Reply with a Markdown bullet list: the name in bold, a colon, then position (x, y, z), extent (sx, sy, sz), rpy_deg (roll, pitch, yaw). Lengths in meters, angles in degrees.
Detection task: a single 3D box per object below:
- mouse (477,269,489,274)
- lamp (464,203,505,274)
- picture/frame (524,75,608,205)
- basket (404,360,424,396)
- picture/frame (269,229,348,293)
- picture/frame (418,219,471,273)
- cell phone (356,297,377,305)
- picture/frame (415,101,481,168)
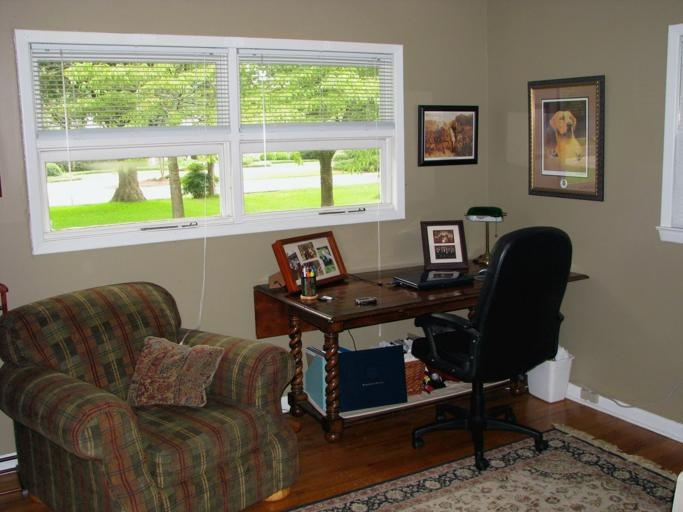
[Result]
- **mouse**: position (0.964, 0.110, 3.685), extent (0.050, 0.017, 0.047), rpy_deg (-2, 12, 36)
- **lamp**: position (1.152, -0.148, 4.269), extent (0.341, 0.469, 0.325), rpy_deg (-4, 12, 19)
- **picture/frame**: position (1.646, -0.861, 3.986), extent (0.120, 0.862, 0.686), rpy_deg (-8, 14, -26)
- **basket**: position (0.488, 0.896, 3.946), extent (0.232, 0.230, 0.200), rpy_deg (0, 2, 5)
- **picture/frame**: position (-0.214, 0.037, 3.781), extent (0.190, 0.359, 0.534), rpy_deg (-2, 6, 44)
- **picture/frame**: position (0.783, -0.068, 4.185), extent (0.405, 0.475, 0.035), rpy_deg (-3, -10, -14)
- **cell phone**: position (0.157, 0.287, 3.417), extent (0.140, 0.021, 0.137), rpy_deg (-1, 12, 2)
- **picture/frame**: position (0.844, -1.006, 4.424), extent (0.562, 0.469, 0.043), rpy_deg (-6, 11, -31)
